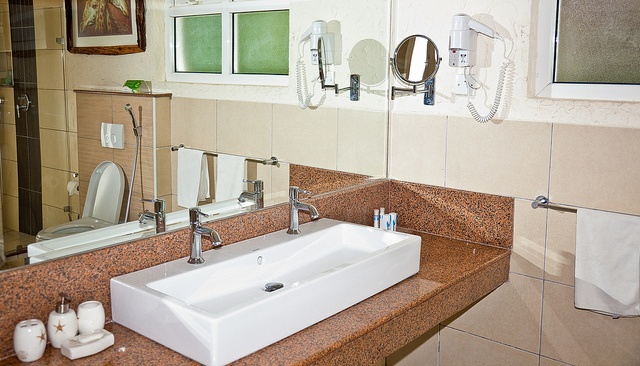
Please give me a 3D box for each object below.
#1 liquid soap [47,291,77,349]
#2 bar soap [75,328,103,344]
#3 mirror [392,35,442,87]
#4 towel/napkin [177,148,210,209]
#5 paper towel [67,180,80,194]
[{"bbox_3d":[-1.039,0.542,1.727,0.159,0.203,0.104,15,23,40],"label":"liquid soap"},{"bbox_3d":[-0.906,0.603,1.702,0.068,0.016,0.039,-12,25,-35],"label":"bar soap"},{"bbox_3d":[0.609,-0.767,2.731,0.045,0.306,0.305,-5,3,-32],"label":"mirror"},{"bbox_3d":[-0.638,-0.029,2.151,0.179,0.284,0.101,-8,20,-27],"label":"towel/napkin"},{"bbox_3d":[-1.067,0.021,1.866,0.054,0.049,0.051,4,1,26],"label":"paper towel"}]
